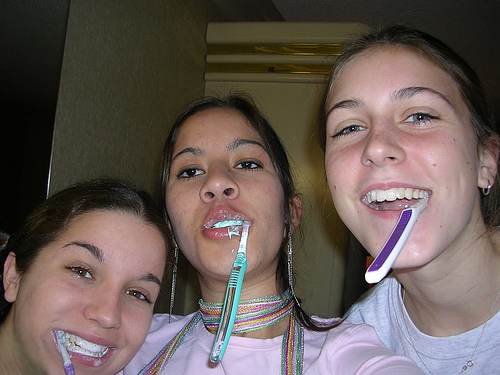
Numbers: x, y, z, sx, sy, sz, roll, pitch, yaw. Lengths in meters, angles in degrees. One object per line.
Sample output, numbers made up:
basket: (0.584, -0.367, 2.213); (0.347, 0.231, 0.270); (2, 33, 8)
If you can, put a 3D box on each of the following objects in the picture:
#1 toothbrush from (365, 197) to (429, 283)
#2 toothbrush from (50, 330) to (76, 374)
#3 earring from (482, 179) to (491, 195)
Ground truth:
toothbrush: (0.436, 0.142, 1.349); (0.058, 0.363, 0.039); (4, -49, 44)
toothbrush: (-0.594, 0.518, 1.454); (0.037, 0.140, 0.074); (-15, 11, -32)
earring: (0.810, 0.001, 1.563); (0.040, 0.040, 0.009); (1, -20, -42)
